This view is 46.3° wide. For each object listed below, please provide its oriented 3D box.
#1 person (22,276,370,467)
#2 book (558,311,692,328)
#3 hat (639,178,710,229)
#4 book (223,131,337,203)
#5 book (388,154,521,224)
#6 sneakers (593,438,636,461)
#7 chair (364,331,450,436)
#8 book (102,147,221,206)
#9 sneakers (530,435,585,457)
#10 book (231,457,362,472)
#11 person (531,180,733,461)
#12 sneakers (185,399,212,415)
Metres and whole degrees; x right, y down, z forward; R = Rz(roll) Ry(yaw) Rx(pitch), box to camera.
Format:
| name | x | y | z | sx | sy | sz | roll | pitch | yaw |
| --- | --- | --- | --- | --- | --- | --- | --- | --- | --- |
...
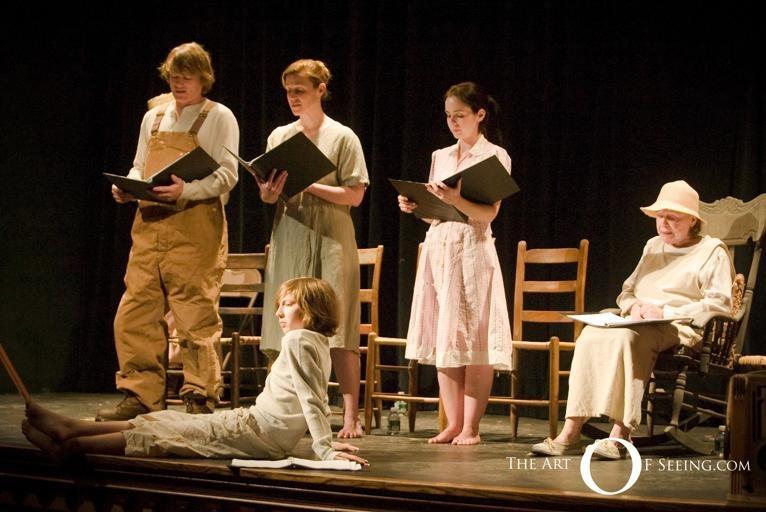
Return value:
| name | x | y | z | sx | sy | sz | roll | pitch | yaw |
| --- | --- | --- | --- | --- | --- | --- | --- | --- | --- |
| person | -0.794 | 0.548 | 4.444 | 1.493 | 0.910 | 0.296 | 1 | -6 | 4 |
| book | 1.249 | 0.338 | 4.791 | 0.542 | 0.097 | 0.308 | -1 | -7 | 20 |
| hat | 1.663 | -0.261 | 5.134 | 0.293 | 0.154 | 0.302 | 18 | -8 | 35 |
| book | -0.476 | -0.487 | 4.761 | 0.429 | 0.132 | 0.323 | -36 | -54 | 17 |
| book | 0.430 | -0.369 | 4.863 | 0.461 | 0.463 | 0.273 | -41 | 14 | 15 |
| sneakers | 1.155 | 0.985 | 4.559 | 0.182 | 0.107 | 0.151 | 1 | -6 | 11 |
| chair | 0.066 | 0.816 | 5.799 | 0.593 | 0.778 | 0.686 | -1 | -3 | 18 |
| book | -1.163 | -0.427 | 4.797 | 0.517 | 0.138 | 0.307 | -18 | -21 | 10 |
| sneakers | 0.904 | 0.999 | 4.693 | 0.279 | 0.075 | 0.095 | 3 | -15 | -10 |
| book | -0.405 | 0.982 | 4.239 | 0.605 | 0.051 | 0.116 | 1 | -6 | 4 |
| person | 1.414 | 0.308 | 4.857 | 0.688 | 1.525 | 0.851 | -2 | -7 | 38 |
| sneakers | -1.008 | 0.823 | 4.928 | 0.121 | 0.083 | 0.088 | -12 | -4 | -5 |
